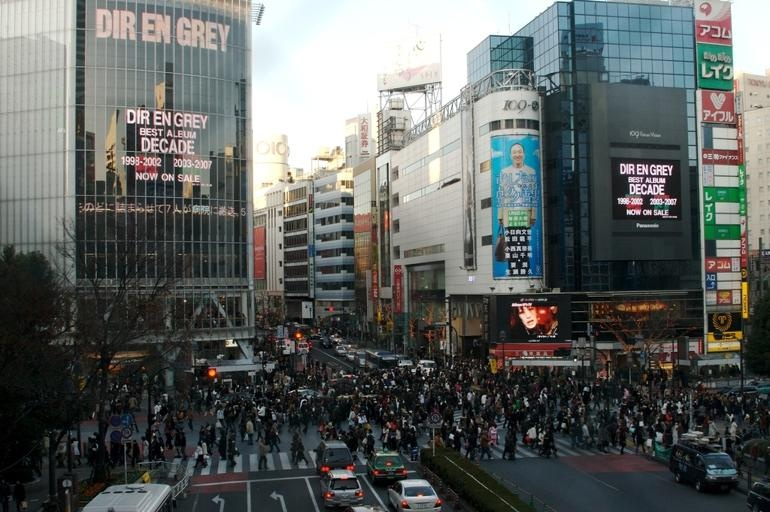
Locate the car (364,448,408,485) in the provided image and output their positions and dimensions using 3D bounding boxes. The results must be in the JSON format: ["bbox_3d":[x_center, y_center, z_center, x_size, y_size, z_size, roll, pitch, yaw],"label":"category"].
[{"bbox_3d":[0.145,15.556,61.882,2.823,2.353,1.599,-1,-3,6],"label":"car"}]

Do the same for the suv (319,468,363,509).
[{"bbox_3d":[-3.012,16.242,58.784,2.878,2.573,1.664,-1,-3,5],"label":"suv"}]
